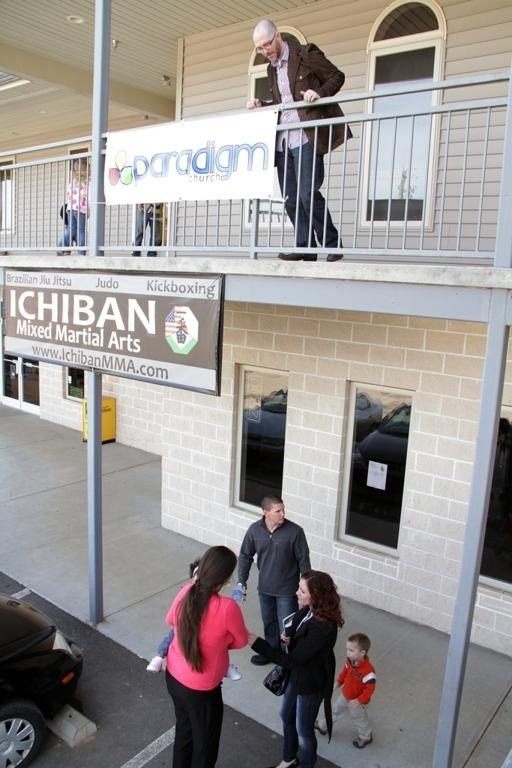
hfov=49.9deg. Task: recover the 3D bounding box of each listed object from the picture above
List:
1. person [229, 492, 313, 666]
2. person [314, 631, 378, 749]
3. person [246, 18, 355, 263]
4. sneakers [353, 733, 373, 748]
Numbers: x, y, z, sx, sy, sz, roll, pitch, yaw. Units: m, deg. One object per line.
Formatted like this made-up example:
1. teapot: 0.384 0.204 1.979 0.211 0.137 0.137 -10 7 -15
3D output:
1. person: 0.159 1.533 4.218 0.557 1.432 0.397 0 14 13
2. person: 0.582 2.001 3.607 0.368 0.802 0.279 6 13 18
3. person: 0.302 -1.671 3.908 0.700 1.701 1.224 3 6 9
4. sneakers: 0.737 2.442 3.800 0.130 0.061 0.063 6 -5 -45
